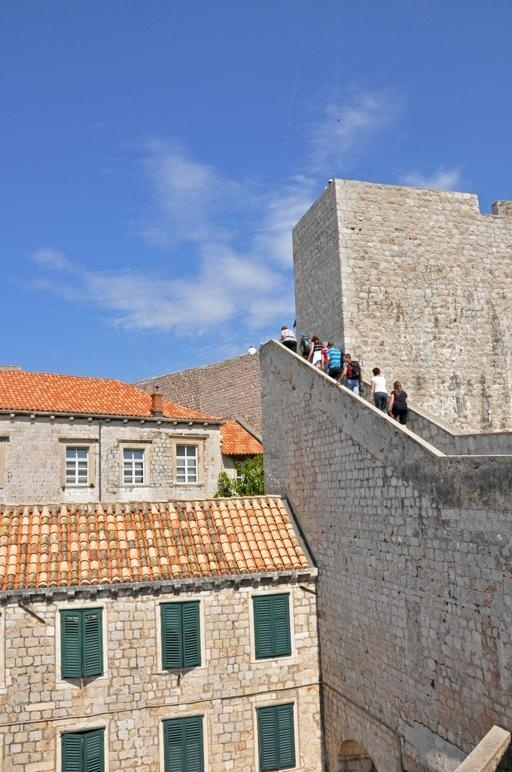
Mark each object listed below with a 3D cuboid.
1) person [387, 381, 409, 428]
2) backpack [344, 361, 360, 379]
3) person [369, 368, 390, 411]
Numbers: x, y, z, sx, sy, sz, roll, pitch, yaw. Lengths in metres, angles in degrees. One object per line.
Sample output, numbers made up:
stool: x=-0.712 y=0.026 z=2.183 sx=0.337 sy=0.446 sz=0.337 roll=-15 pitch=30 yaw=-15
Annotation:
person: x=2.682 y=0.329 z=16.966 sx=0.379 sy=0.948 sz=0.780 roll=-4 pitch=-10 yaw=8
backpack: x=2.079 y=-0.337 z=19.384 sx=0.320 sy=0.579 sz=0.313 roll=4 pitch=-24 yaw=-4
person: x=2.455 y=0.096 z=17.843 sx=0.333 sy=1.060 sz=1.058 roll=-4 pitch=-10 yaw=8
